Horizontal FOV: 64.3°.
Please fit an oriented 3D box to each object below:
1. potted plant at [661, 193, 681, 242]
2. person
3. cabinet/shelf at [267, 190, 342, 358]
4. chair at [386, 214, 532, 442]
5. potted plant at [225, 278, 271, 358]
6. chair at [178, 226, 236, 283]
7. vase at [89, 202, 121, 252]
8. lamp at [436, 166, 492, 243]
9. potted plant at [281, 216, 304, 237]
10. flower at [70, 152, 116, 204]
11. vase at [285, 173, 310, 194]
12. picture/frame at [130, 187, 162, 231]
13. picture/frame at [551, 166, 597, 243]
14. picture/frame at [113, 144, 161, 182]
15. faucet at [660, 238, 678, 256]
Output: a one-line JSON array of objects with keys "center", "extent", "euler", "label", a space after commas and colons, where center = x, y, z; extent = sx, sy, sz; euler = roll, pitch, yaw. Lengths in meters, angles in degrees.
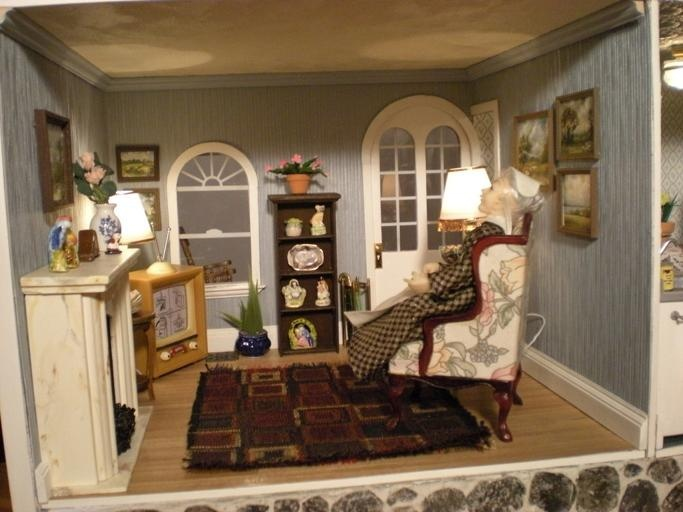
[{"center": [2.341, -0.264, 3.848], "extent": [0.128, 0.321, 0.495], "euler": [6, 13, 32], "label": "potted plant"}, {"center": [0.693, 0.181, 3.834], "extent": [0.939, 1.739, 0.544], "euler": [24, 18, 23], "label": "person"}, {"center": [-0.365, 0.195, 5.492], "extent": [0.729, 1.586, 0.292], "euler": [-2, 5, -7], "label": "cabinet/shelf"}, {"center": [0.805, 0.424, 4.022], "extent": [1.170, 1.460, 1.130], "euler": [4, 8, 32], "label": "chair"}, {"center": [-0.983, 0.632, 5.424], "extent": [0.472, 0.790, 0.553], "euler": [4, 7, 28], "label": "potted plant"}, {"center": [-1.408, -0.019, 5.921], "extent": [0.556, 0.817, 0.478], "euler": [-3, 5, -7], "label": "chair"}, {"center": [-1.757, -0.202, 4.050], "extent": [0.209, 0.360, 0.215], "euler": [7, 9, 42], "label": "vase"}, {"center": [1.027, -0.470, 4.940], "extent": [0.505, 0.712, 0.528], "euler": [-1, 0, 9], "label": "lamp"}, {"center": [-0.477, -0.287, 5.502], "extent": [0.169, 0.168, 0.178], "euler": [0, -5, 4], "label": "potted plant"}, {"center": [-1.823, -0.515, 4.097], "extent": [0.240, 0.279, 0.226], "euler": [11, 27, -4], "label": "flower"}, {"center": [-0.432, -0.701, 5.389], "extent": [0.185, 0.148, 0.193], "euler": [0, 4, -1], "label": "vase"}, {"center": [-1.947, -0.454, 5.464], "extent": [0.244, 0.427, 0.123], "euler": [-4, 11, -13], "label": "picture/frame"}, {"center": [1.785, -0.400, 4.098], "extent": [0.049, 0.491, 0.348], "euler": [-10, 12, -23], "label": "picture/frame"}, {"center": [-2.065, -0.930, 5.436], "extent": [0.396, 0.403, 0.033], "euler": [0, 4, -5], "label": "picture/frame"}, {"center": [2.360, -0.059, 3.909], "extent": [0.114, 0.116, 0.032], "euler": [-5, 8, -14], "label": "faucet"}]
